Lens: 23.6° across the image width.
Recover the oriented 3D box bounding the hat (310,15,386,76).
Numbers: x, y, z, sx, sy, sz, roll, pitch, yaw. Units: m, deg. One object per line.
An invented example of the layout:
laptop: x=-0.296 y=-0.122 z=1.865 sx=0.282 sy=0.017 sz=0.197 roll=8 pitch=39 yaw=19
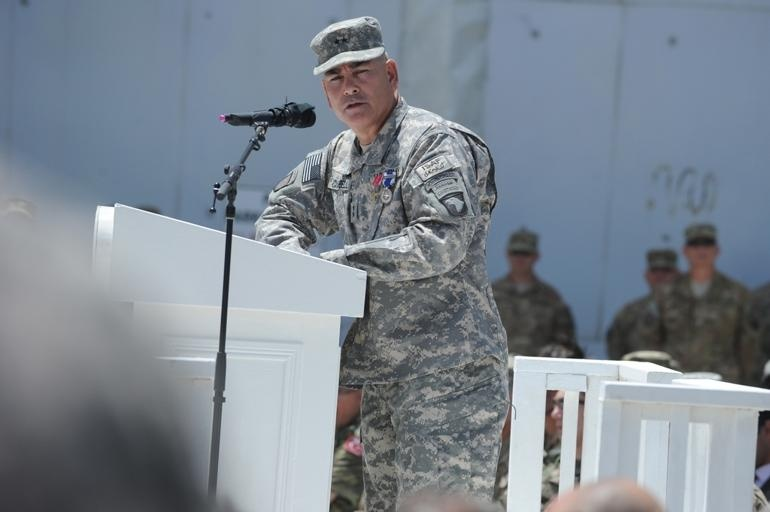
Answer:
hat: x=-0.223 y=-1.138 z=9.729 sx=0.425 sy=0.256 sz=0.530 roll=-17 pitch=4 yaw=-7

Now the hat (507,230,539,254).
hat: x=0.853 y=-0.106 z=11.486 sx=0.134 sy=0.183 sz=0.078 roll=3 pitch=9 yaw=6

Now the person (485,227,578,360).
person: x=0.904 y=0.225 z=11.199 sx=0.674 sy=0.958 sz=0.292 roll=-7 pitch=-8 yaw=4
